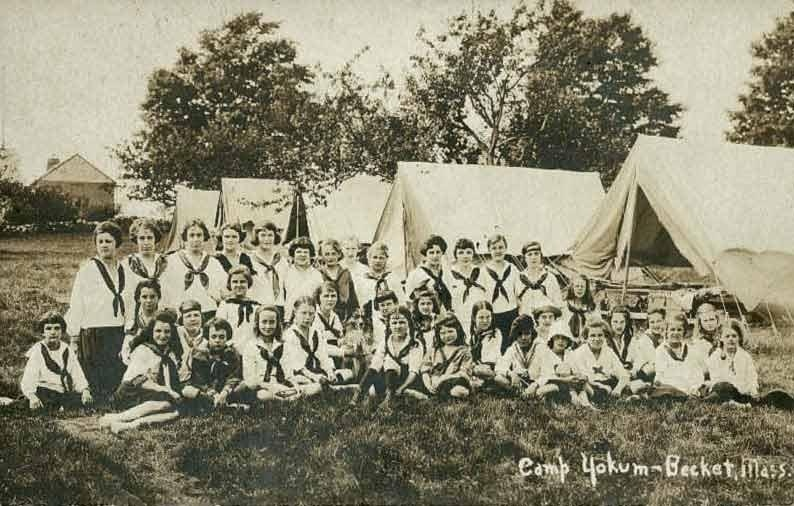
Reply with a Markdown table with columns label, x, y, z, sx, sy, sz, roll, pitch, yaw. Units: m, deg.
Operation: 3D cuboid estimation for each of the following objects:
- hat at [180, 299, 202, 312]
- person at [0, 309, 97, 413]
| label | x | y | z | sx | sy | sz | roll | pitch | yaw |
| --- | --- | --- | --- | --- | --- | --- | --- | --- | --- |
| hat | -2.420 | 0.619 | 10.929 | 0.246 | 0.150 | 0.049 | 2 | -5 | 2 |
| person | -4.103 | 1.266 | 11.008 | 0.990 | 1.331 | 0.929 | 1 | -1 | -33 |
